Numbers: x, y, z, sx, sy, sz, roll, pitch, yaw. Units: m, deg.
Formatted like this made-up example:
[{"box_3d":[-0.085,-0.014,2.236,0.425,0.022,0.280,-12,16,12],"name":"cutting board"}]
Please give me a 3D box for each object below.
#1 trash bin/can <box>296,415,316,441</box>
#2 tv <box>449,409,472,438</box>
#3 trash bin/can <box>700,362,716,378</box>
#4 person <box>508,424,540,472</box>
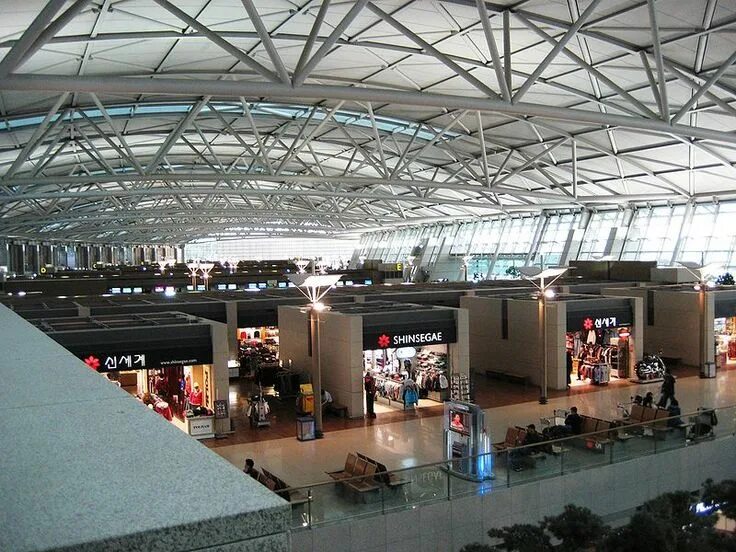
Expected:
[{"box_3d":[-1.984,5.059,18.188,0.606,0.693,0.429,-3,3,-33],"name":"trash bin/can"},{"box_3d":[2.650,4.123,15.423,0.160,0.652,1.121,-2,-1,-38],"name":"tv"},{"box_3d":[16.419,4.510,26.359,1.065,0.701,0.452,-2,3,-18],"name":"trash bin/can"},{"box_3d":[4.244,4.697,14.873,0.546,0.693,1.097,-1,-3,-17],"name":"person"}]
